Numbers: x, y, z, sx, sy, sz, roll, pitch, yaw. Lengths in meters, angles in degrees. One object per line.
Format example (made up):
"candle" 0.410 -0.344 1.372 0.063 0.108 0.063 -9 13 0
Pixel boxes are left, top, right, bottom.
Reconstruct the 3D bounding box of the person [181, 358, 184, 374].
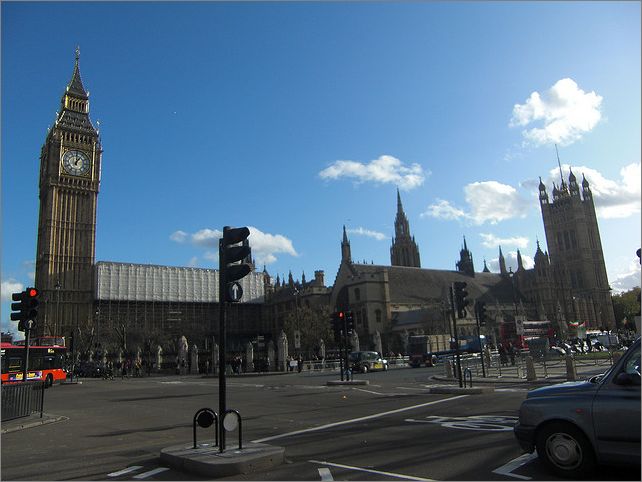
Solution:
"person" -13.514 12.226 53.714 0.398 1.422 2.759 -2 -14 -15

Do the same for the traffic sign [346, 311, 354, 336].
"traffic sign" 1.630 4.624 31.127 0.383 1.204 1.313 -7 -13 8

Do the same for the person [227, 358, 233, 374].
"person" -8.751 12.088 52.877 0.575 1.183 2.034 -3 -14 -10

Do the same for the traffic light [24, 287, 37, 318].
"traffic light" -9.933 2.119 18.820 0.364 1.012 1.471 2 -15 -28

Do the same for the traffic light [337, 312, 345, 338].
"traffic light" 1.168 4.666 31.164 0.437 1.328 1.156 -5 -13 1

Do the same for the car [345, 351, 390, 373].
"car" 3.834 10.113 46.209 2.211 1.750 4.799 -11 -14 22
